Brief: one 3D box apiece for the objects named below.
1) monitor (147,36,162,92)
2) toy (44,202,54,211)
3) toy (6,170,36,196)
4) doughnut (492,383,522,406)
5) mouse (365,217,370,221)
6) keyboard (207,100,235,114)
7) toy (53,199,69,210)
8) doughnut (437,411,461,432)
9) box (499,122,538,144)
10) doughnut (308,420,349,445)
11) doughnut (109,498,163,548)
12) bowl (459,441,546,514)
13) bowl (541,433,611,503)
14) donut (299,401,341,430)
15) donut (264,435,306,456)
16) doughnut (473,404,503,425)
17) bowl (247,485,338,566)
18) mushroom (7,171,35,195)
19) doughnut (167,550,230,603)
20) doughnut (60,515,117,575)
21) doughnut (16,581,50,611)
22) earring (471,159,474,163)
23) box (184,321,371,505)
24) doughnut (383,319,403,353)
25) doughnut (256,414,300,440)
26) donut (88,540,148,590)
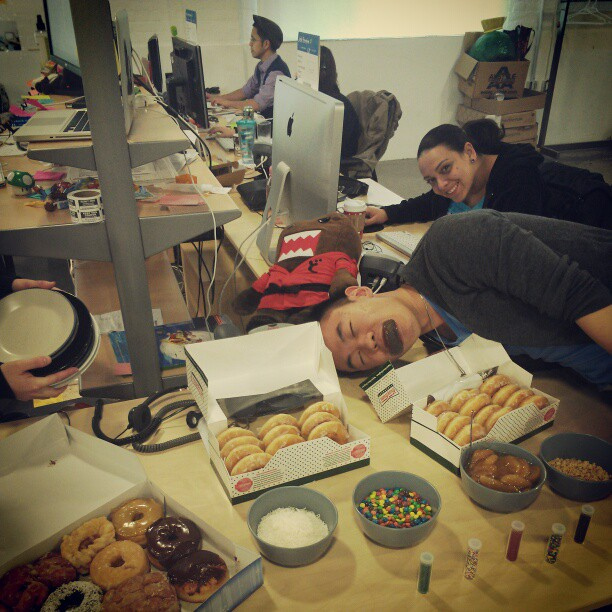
[{"bbox_3d":[-0.975,-1.561,3.431,0.069,0.330,0.280,-8,27,-13],"label":"monitor"},{"bbox_3d":[-0.720,-0.279,1.487,0.021,0.020,0.021,55,14,21],"label":"toy"},{"bbox_3d":[-0.897,-0.397,1.694,0.088,0.082,0.078,-14,26,-26],"label":"toy"},{"bbox_3d":[0.440,0.193,1.157,0.047,0.015,0.045,-39,-2,-22],"label":"doughnut"},{"bbox_3d":[0.270,-0.382,2.326,0.019,0.008,0.027,-3,16,0],"label":"mouse"},{"bbox_3d":[-0.668,-1.544,4.104,0.191,0.065,0.358,-7,28,-11],"label":"keyboard"},{"bbox_3d":[-0.690,-0.294,1.514,0.020,0.026,0.061,4,29,13],"label":"toy"},{"bbox_3d":[0.296,0.237,1.111,0.015,0.040,0.041,37,40,19],"label":"doughnut"},{"bbox_3d":[2.003,-1.611,4.926,0.476,0.149,0.093,-13,28,-22],"label":"box"},{"bbox_3d":[0.048,0.268,1.097,0.091,0.059,0.033,-7,27,-12],"label":"doughnut"},{"bbox_3d":[-0.316,0.393,0.980,0.069,0.026,0.072,1,32,-2],"label":"doughnut"},{"bbox_3d":[0.378,0.334,1.021,0.133,0.074,0.120,-7,24,-17],"label":"bowl"},{"bbox_3d":[0.550,0.316,1.080,0.119,0.063,0.130,-3,24,1],"label":"bowl"},{"bbox_3d":[0.023,0.232,1.127,0.056,0.057,0.019,16,-6,29],"label":"donut"},{"bbox_3d":[-0.044,0.271,1.055,0.046,0.013,0.047,-15,14,-4],"label":"donut"},{"bbox_3d":[0.386,0.229,1.115,0.044,0.014,0.042,-38,-4,-18],"label":"doughnut"},{"bbox_3d":[-0.025,0.392,0.950,0.132,0.056,0.139,-2,9,0],"label":"bowl"},{"bbox_3d":[-0.900,-0.393,1.675,0.084,0.071,0.074,-3,19,-14],"label":"mushroom"},{"bbox_3d":[-0.173,0.445,0.872,0.090,0.037,0.079,-18,32,-31],"label":"doughnut"},{"bbox_3d":[-0.392,0.421,0.947,0.104,0.061,0.083,-20,35,-37],"label":"doughnut"},{"bbox_3d":[-0.442,0.472,0.861,0.037,0.016,0.043,2,27,7],"label":"doughnut"},{"bbox_3d":[0.680,-0.595,2.166,0.009,0.018,0.009,-5,31,6],"label":"earring"},{"bbox_3d":[-0.046,0.196,1.202,0.373,0.360,0.346,-15,28,-21],"label":"box"},{"bbox_3d":[0.223,0.072,1.313,0.040,0.080,0.016,-9,11,-10],"label":"doughnut"},{"bbox_3d":[-0.059,0.243,1.094,0.056,0.019,0.055,-32,0,-36],"label":"doughnut"},{"bbox_3d":[-0.316,0.444,0.905,0.073,0.019,0.084,21,34,36],"label":"donut"}]
